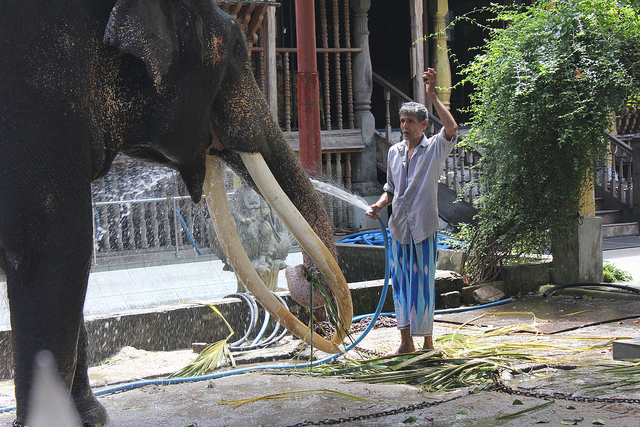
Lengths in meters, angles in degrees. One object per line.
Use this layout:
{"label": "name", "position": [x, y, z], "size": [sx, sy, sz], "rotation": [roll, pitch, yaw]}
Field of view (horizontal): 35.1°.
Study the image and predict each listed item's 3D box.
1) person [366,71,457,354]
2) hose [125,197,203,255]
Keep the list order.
{"label": "person", "position": [0.866, -0.018, 8.583], "size": [0.588, 1.896, 0.324], "rotation": [-4, 2, 8]}
{"label": "hose", "position": [-1.911, 0.136, 12.138], "size": [0.575, 0.359, 0.045], "rotation": [-28, -6, 2]}
